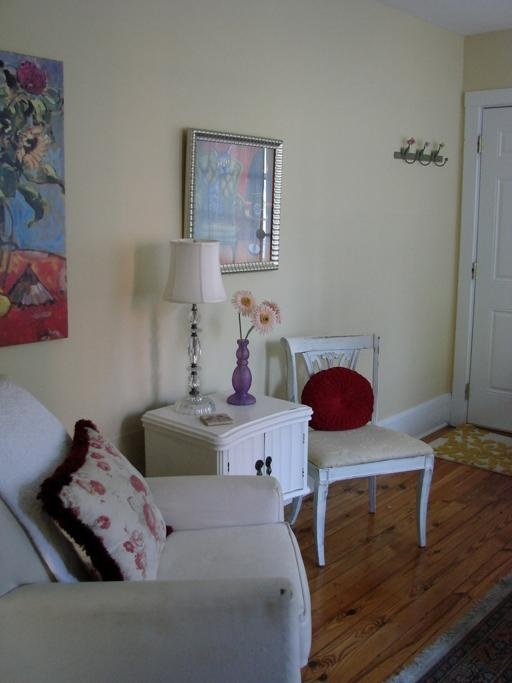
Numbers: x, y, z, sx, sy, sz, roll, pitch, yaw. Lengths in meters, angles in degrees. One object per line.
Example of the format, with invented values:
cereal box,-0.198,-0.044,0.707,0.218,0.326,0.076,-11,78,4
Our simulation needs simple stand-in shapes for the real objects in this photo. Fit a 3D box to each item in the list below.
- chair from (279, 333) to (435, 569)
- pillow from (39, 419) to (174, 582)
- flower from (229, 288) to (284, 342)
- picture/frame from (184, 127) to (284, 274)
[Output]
chair,0.432,0.432,2.604,0.515,0.916,0.564,-3,4,-9
pillow,-0.283,0.243,1.250,0.230,0.203,0.447,12,9,-8
flower,0.003,-0.098,2.450,0.177,0.232,0.378,0,8,-1
picture/frame,-0.098,-0.588,2.380,0.059,0.655,0.624,6,8,37
